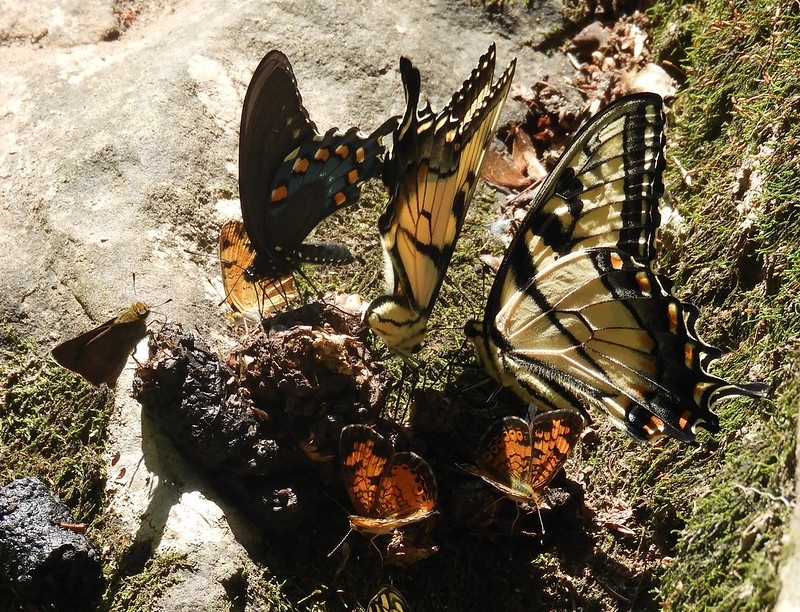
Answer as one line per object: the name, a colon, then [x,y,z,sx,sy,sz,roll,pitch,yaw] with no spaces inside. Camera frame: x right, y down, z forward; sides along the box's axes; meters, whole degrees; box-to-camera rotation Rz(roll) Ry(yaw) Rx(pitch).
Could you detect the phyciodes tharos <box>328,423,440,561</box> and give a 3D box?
phyciodes tharos: [-0.086,1.263,6.013,0.641,0.457,0.863,-3,39,2]
